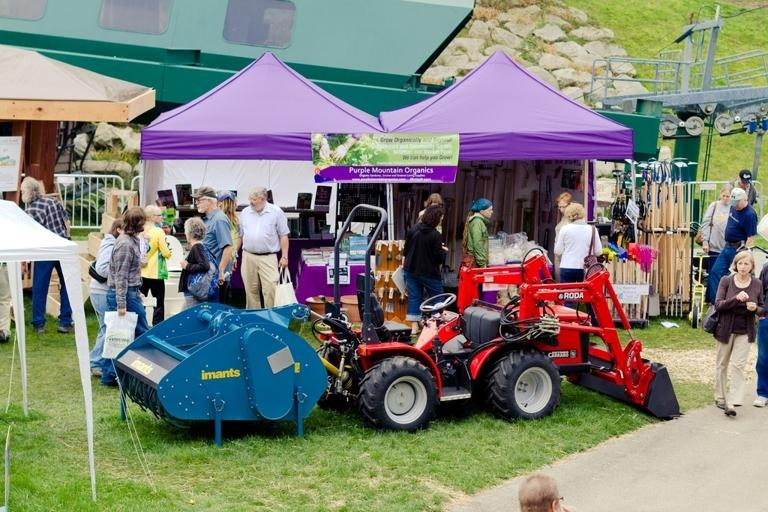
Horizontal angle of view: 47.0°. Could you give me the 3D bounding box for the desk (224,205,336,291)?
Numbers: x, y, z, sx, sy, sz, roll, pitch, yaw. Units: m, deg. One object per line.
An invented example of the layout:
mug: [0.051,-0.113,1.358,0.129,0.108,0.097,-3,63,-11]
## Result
desk: [-1.749,-0.073,14.586,1.162,1.349,0.611,1,-10,-7]

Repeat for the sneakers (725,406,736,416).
sneakers: [4.632,2.086,11.865,0.163,0.138,0.173,1,2,12]

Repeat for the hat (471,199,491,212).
hat: [1.588,-0.796,14.487,0.276,0.237,0.225,5,26,-4]

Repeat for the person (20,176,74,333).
person: [-5.198,-0.004,13.718,0.710,2.440,1.049,0,2,-22]

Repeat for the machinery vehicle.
machinery vehicle: [1.255,0.753,12.400,4.210,2.822,2.403,-4,8,-13]

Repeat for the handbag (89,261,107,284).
handbag: [-3.899,0.218,12.092,0.223,0.143,0.292,36,7,-30]

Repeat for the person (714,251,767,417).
person: [4.727,1.044,11.910,0.591,2.204,0.387,1,2,24]

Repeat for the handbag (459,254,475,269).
handbag: [1.393,0.093,14.727,0.212,0.237,0.204,1,-1,5]

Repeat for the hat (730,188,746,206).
hat: [5.657,-0.944,14.196,0.220,0.282,0.328,1,2,18]

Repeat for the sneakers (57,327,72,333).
sneakers: [-5.013,1.182,13.956,0.153,0.121,0.089,-4,7,-16]

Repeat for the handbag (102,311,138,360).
handbag: [-3.359,1.027,11.326,0.457,0.681,0.249,5,-28,-10]

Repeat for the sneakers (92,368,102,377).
sneakers: [-4.021,1.651,12.416,0.154,0.134,0.107,10,-4,-8]

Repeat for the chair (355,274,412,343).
chair: [-0.079,0.708,11.669,0.804,1.104,0.634,-2,4,-17]

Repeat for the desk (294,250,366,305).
desk: [-1.127,0.295,15.553,0.897,0.547,0.969,-1,8,-3]

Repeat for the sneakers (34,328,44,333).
sneakers: [-5.352,1.170,13.810,0.150,0.077,0.056,-5,7,24]

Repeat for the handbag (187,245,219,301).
handbag: [-2.534,0.245,12.577,0.296,0.801,0.623,1,2,10]

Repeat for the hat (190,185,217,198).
hat: [-2.707,-0.931,13.160,0.409,0.192,0.309,-1,0,16]
